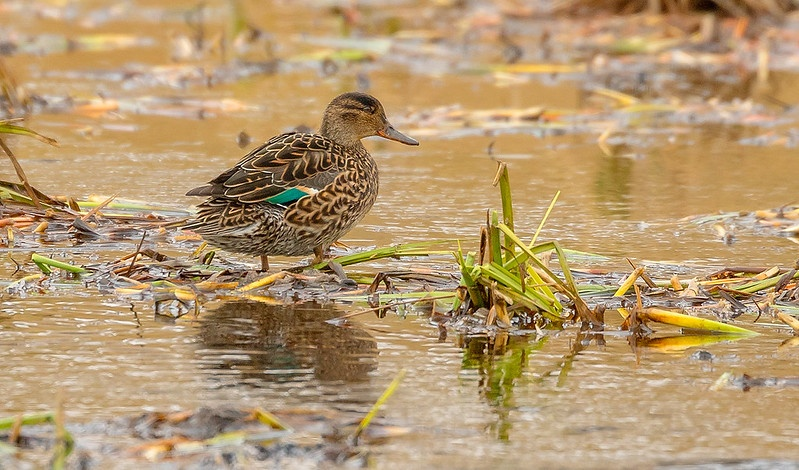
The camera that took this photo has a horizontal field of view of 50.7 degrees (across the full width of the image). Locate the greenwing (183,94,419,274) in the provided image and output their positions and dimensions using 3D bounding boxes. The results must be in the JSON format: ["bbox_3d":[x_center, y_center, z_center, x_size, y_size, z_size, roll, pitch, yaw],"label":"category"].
[{"bbox_3d":[-0.857,-0.475,6.966,1.048,1.504,1.577,2,6,22],"label":"greenwing"}]
